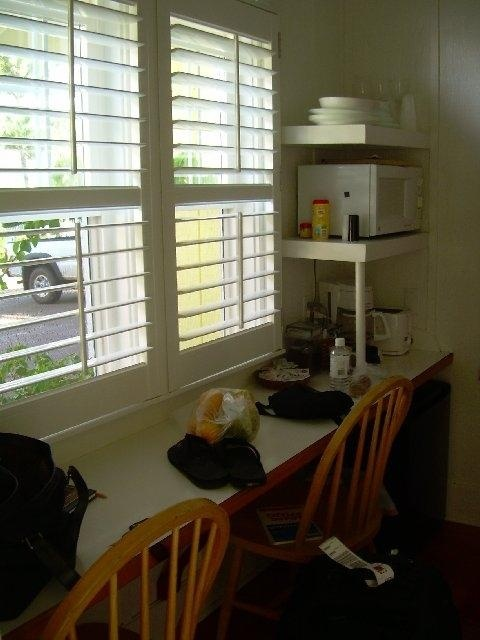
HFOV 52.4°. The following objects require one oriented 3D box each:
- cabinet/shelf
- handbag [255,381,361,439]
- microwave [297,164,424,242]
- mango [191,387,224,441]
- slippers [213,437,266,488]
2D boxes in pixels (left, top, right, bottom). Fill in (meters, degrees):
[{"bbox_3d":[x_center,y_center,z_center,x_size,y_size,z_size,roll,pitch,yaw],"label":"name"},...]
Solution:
[{"bbox_3d":[0.445,-0.330,1.939,0.298,0.886,0.976,2,5,23],"label":"cabinet/shelf"},{"bbox_3d":[0.206,0.242,1.514,0.232,0.127,0.250,-2,10,-37],"label":"handbag"},{"bbox_3d":[0.537,-0.492,2.045,0.362,0.278,0.517,8,15,32],"label":"microwave"},{"bbox_3d":[-0.085,0.241,1.252,0.062,0.110,0.081,0,14,-15],"label":"mango"},{"bbox_3d":[0.001,0.332,1.188,0.097,0.082,0.284,-5,3,-6],"label":"slippers"}]
